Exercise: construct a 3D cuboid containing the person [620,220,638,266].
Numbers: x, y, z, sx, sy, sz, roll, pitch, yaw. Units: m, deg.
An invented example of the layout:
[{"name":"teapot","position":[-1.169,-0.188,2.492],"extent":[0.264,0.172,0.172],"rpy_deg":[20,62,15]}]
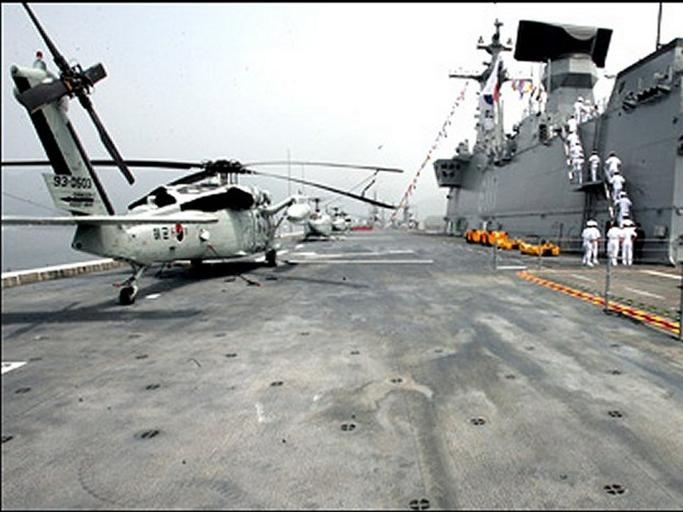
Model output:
[{"name":"person","position":[11.600,-0.571,18.282],"extent":[0.503,1.798,1.506],"rpy_deg":[4,9,33]}]
